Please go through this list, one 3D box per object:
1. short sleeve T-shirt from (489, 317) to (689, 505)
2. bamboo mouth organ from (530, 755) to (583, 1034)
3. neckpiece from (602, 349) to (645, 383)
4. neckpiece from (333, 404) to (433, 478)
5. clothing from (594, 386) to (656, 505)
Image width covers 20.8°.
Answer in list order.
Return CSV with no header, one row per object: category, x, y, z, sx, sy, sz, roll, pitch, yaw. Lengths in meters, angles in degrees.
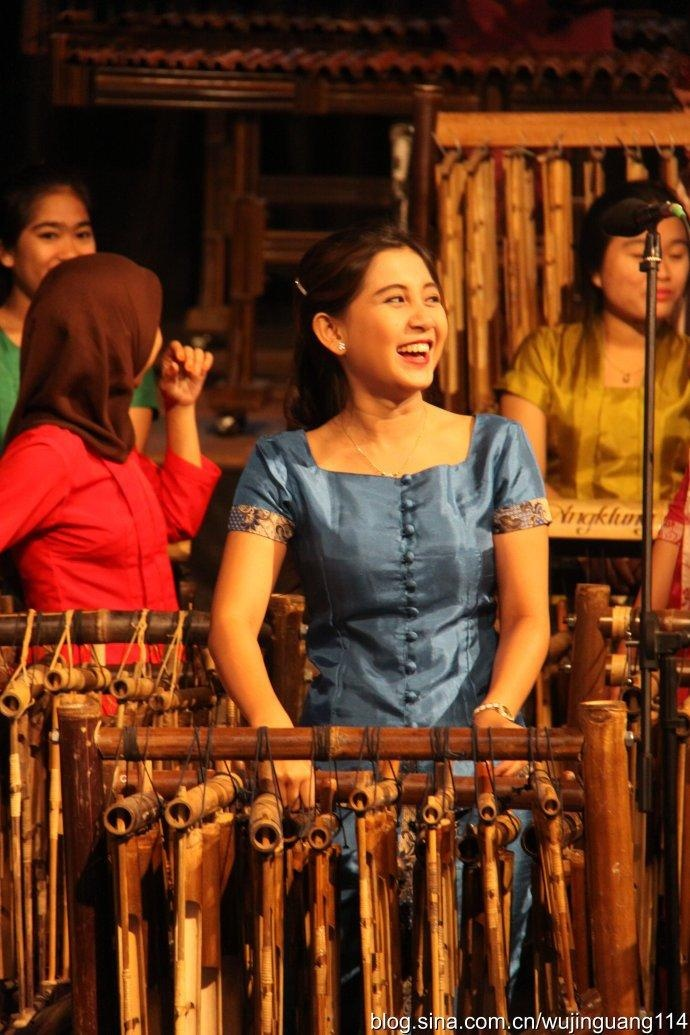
short sleeve T-shirt,0.601,-0.237,4.476,0.492,0.474,0.265,1,1,-4
bamboo mouth organ,0.317,0.574,2.840,0.066,0.377,0.090,-9,-10,38
neckpiece,0.704,-0.370,4.700,0.097,0.092,0.029,3,4,-1
neckpiece,0.073,-0.129,3.479,0.132,0.127,0.040,-8,-4,-7
clothing,0.695,-0.180,4.678,0.104,0.286,0.132,2,-1,-4
